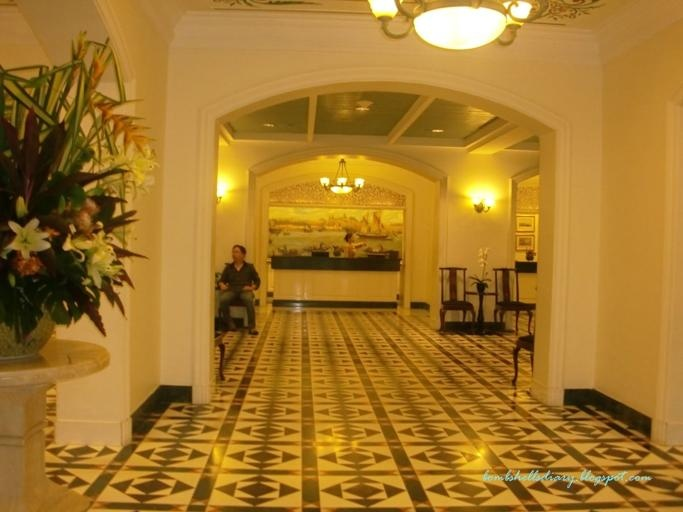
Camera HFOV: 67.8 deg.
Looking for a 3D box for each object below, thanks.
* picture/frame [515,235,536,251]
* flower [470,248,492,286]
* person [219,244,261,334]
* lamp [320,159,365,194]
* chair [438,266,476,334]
[{"bbox_3d":[7.005,-0.547,19.268,0.807,0.519,0.056,1,3,1],"label":"picture/frame"},{"bbox_3d":[2.878,0.203,10.472,0.411,0.762,0.180,2,3,6],"label":"flower"},{"bbox_3d":[-1.941,0.615,9.625,0.755,1.669,0.723,1,3,-12],"label":"person"},{"bbox_3d":[0.031,-2.123,13.365,1.247,0.804,1.102,-2,5,-33],"label":"lamp"},{"bbox_3d":[2.380,0.869,10.361,0.776,1.319,0.740,2,3,8],"label":"chair"}]
